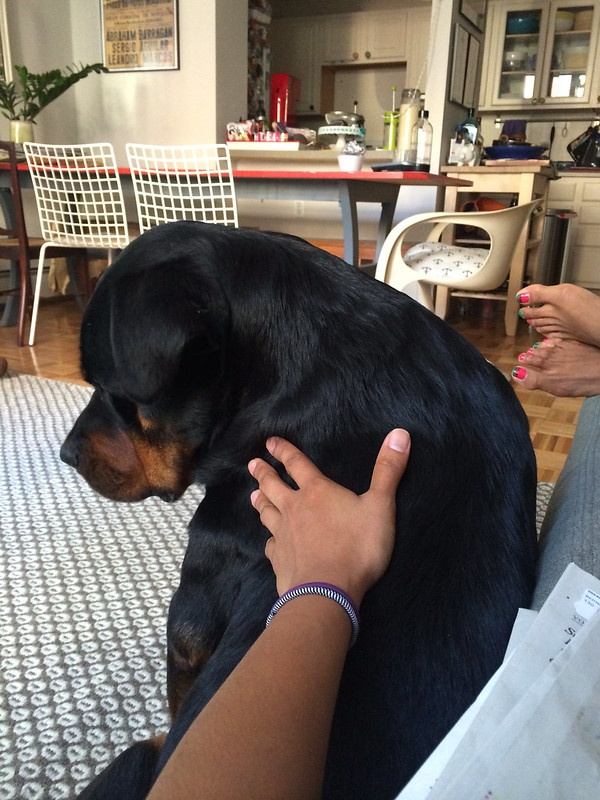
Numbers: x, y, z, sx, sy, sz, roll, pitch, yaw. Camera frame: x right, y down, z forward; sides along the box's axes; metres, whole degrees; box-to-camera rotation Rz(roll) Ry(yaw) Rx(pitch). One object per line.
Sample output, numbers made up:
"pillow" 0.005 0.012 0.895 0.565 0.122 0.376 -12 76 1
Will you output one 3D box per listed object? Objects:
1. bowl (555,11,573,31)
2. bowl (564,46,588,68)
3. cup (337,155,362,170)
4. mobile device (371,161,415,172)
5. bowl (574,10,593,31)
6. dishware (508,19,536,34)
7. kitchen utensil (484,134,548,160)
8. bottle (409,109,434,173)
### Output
"bowl" 2.647 -3.798 5.780 0.176 0.137 0.191 3 19 -1
"bowl" 2.794 -3.454 5.814 0.210 0.194 0.125 10 29 14
"cup" 0.269 -1.249 3.062 0.107 0.066 0.107 -1 6 0
"mobile device" 0.449 -1.223 3.016 0.202 0.050 0.245 -9 29 -21
"bowl" 2.833 -3.797 5.745 0.188 0.192 0.061 16 31 25
"dishware" 2.253 -3.749 5.816 0.198 0.071 0.153 -1 18 -10
"kitchen utensil" 1.453 -1.682 3.893 0.367 0.117 0.423 13 28 21
"bottle" 0.733 -1.577 3.457 0.121 0.281 0.299 7 27 8
